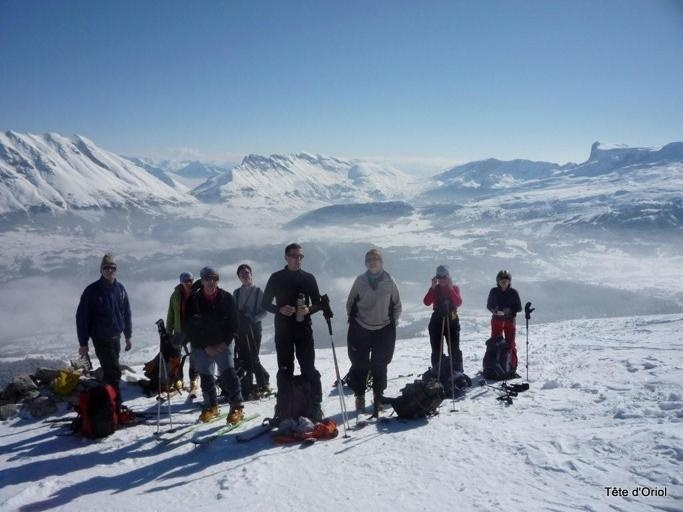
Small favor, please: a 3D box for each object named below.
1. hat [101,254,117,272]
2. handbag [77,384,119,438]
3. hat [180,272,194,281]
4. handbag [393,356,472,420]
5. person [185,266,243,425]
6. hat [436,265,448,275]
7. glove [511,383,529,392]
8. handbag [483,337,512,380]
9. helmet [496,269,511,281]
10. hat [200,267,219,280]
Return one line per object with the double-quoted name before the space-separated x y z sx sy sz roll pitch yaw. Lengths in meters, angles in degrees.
"hat" -5.733 0.173 14.403 0.395 0.448 0.452 3 -7 -34
"handbag" -5.752 3.603 13.612 0.819 1.257 0.329 -2 -1 -16
"hat" -3.998 0.501 14.850 0.262 0.210 0.198 0 1 23
"handbag" 2.252 3.314 14.843 1.044 1.155 2.339 -3 -2 32
"person" -3.060 2.117 13.984 1.278 3.741 0.660 -2 -1 -11
"hat" 2.737 0.398 15.810 0.230 0.313 0.278 -2 3 4
"glove" 4.680 3.436 15.249 0.452 0.230 0.399 -2 -1 10
"handbag" 4.450 2.930 16.563 0.602 1.042 0.888 21 -24 -37
"helmet" 4.713 0.555 16.898 0.324 0.314 0.382 2 -8 0
"hat" -3.126 0.420 13.813 0.304 0.224 0.431 9 -8 -33
